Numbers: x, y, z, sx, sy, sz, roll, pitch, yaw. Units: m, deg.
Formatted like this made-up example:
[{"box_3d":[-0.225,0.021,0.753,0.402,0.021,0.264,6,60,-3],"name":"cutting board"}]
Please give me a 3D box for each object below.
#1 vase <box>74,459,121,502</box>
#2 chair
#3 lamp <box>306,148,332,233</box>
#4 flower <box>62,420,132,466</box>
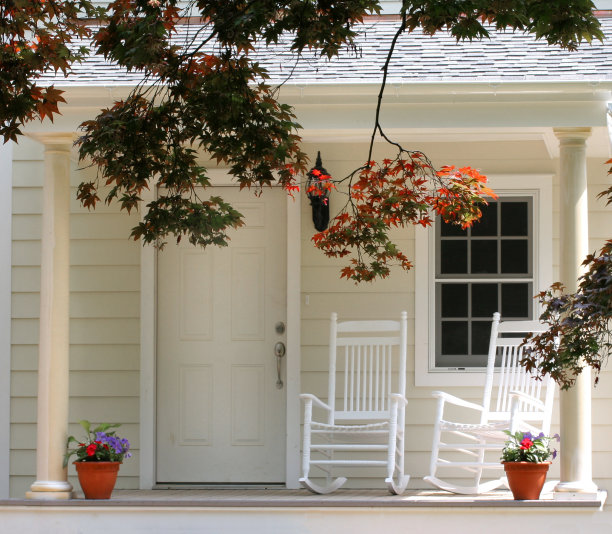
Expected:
[{"box_3d":[-1.360,1.406,9.208,0.313,0.239,0.314,-3,-13,11],"name":"vase"},{"box_3d":[0.806,0.922,9.687,1.735,1.308,1.244,1,-6,6],"name":"chair"},{"box_3d":[0.092,-0.519,9.422,0.160,0.562,0.227,2,14,4],"name":"lamp"},{"box_3d":[-1.381,1.194,9.332,0.433,0.193,0.413,-14,12,-35],"name":"flower"}]
